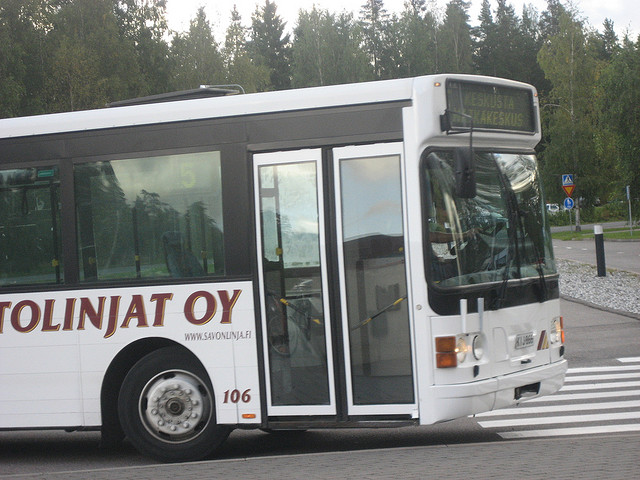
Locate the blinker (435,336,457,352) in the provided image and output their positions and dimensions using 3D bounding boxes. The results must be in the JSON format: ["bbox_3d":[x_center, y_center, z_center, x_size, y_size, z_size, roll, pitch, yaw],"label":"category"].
[{"bbox_3d":[1.530,1.270,11.365,0.277,0.213,0.158,0,-4,-6],"label":"blinker"}]

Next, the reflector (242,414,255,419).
[{"bbox_3d":[-0.907,2.224,11.744,0.154,0.060,0.005,-4,-2,6],"label":"reflector"}]

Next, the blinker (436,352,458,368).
[{"bbox_3d":[1.542,1.463,11.354,0.267,0.216,0.156,-1,-4,-2],"label":"blinker"}]

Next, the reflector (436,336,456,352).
[{"bbox_3d":[1.532,1.270,11.367,0.236,0.123,0.020,-3,-2,-5],"label":"reflector"}]

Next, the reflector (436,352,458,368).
[{"bbox_3d":[1.542,1.461,11.355,0.267,0.216,0.156,-1,-4,-2],"label":"reflector"}]
